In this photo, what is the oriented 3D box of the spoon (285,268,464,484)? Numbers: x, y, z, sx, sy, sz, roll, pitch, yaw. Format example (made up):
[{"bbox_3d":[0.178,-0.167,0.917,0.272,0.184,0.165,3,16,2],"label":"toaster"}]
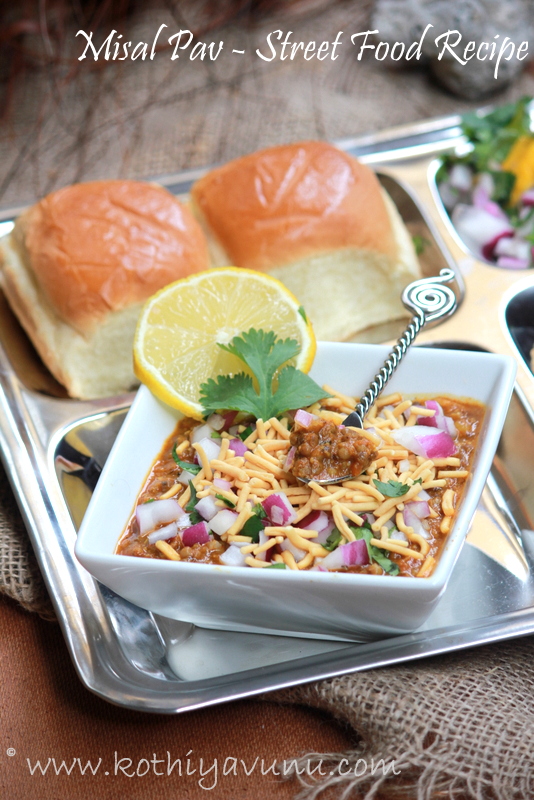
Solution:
[{"bbox_3d":[0.218,-0.077,1.255,0.138,0.027,0.557,28,63,28],"label":"spoon"}]

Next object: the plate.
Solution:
[{"bbox_3d":[0.063,0.107,1.122,0.566,0.220,0.440,4,52,9],"label":"plate"}]

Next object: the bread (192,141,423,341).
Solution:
[{"bbox_3d":[0.082,-0.255,1.491,0.401,0.126,0.390,-22,85,-12],"label":"bread"}]
